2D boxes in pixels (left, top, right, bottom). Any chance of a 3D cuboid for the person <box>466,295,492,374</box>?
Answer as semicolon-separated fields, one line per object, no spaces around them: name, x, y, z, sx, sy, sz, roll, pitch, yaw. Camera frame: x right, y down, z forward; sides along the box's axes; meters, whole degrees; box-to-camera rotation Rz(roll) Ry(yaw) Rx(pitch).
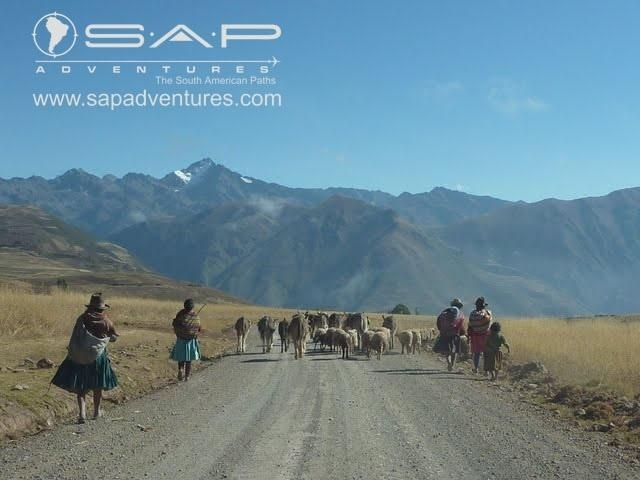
person;6.799;3.766;27.986;1.081;3.721;0.847;-2;-1;2

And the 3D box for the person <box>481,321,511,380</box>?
person;7.301;4.472;26.910;0.914;2.208;0.672;-3;1;7

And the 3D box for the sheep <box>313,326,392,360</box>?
sheep;1.806;5.314;34.228;1.989;0.973;2.714;2;-5;-3

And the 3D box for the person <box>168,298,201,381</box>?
person;-5.275;3.902;26.206;0.927;3.121;1.412;0;-1;0
